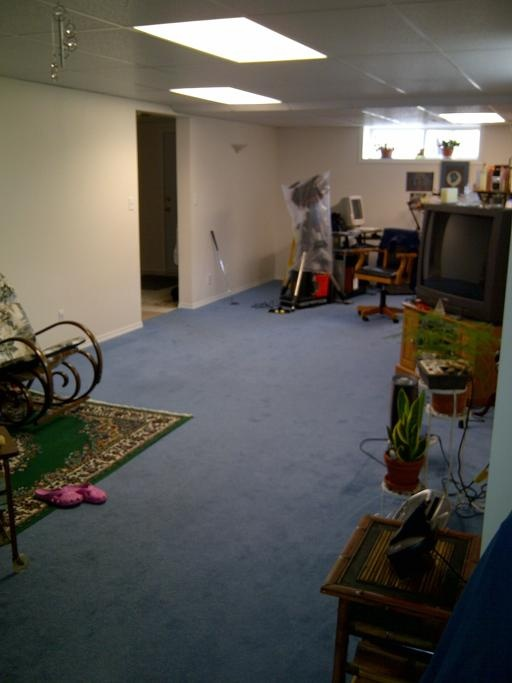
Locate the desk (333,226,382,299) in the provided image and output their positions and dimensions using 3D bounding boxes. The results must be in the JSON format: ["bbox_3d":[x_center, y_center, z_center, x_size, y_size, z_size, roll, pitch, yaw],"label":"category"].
[{"bbox_3d":[1.510,-1.212,8.198,0.828,0.765,0.441,-15,20,-42],"label":"desk"}]

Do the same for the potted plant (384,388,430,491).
[{"bbox_3d":[0.645,0.431,2.181,0.172,0.500,0.192,5,15,16],"label":"potted plant"}]

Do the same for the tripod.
[{"bbox_3d":[0.724,-0.973,7.409,1.146,0.928,0.541,-7,16,-31],"label":"tripod"}]

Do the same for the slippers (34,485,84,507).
[{"bbox_3d":[-1.004,0.792,2.620,0.240,0.068,0.157,8,15,23],"label":"slippers"}]

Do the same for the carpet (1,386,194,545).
[{"bbox_3d":[-1.161,0.639,3.207,0.890,0.072,1.476,7,15,23],"label":"carpet"}]

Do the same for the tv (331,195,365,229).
[{"bbox_3d":[1.517,-2.138,8.188,0.519,0.492,0.494,12,22,14],"label":"tv"}]
